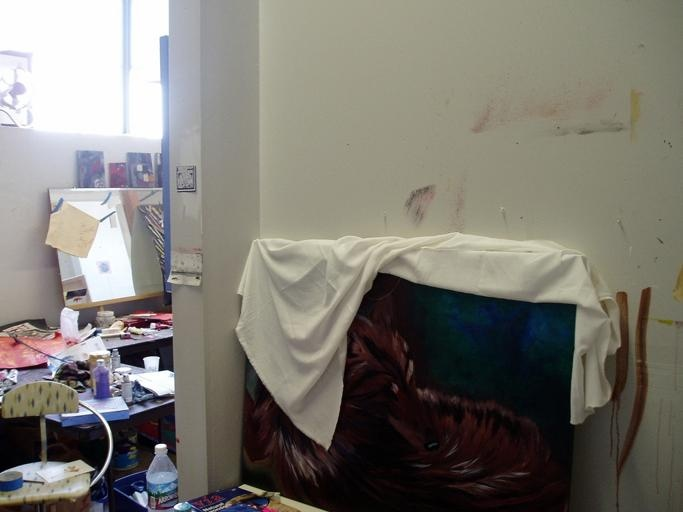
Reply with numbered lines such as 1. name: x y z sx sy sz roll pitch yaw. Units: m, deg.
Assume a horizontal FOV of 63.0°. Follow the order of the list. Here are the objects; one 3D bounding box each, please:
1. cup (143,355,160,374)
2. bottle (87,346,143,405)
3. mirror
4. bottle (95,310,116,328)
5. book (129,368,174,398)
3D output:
1. cup: -1.179 0.670 3.464 0.094 0.087 0.103 2 6 0
2. bottle: -1.268 0.671 3.093 0.178 0.292 0.096 -6 -5 9
3. mirror: -1.797 -0.061 4.180 0.034 0.935 0.820 -2 1 43
4. bottle: -1.724 0.462 4.076 0.104 0.119 0.114 1 2 -4
5. book: -1.048 0.717 3.157 0.193 0.076 0.208 12 3 21
